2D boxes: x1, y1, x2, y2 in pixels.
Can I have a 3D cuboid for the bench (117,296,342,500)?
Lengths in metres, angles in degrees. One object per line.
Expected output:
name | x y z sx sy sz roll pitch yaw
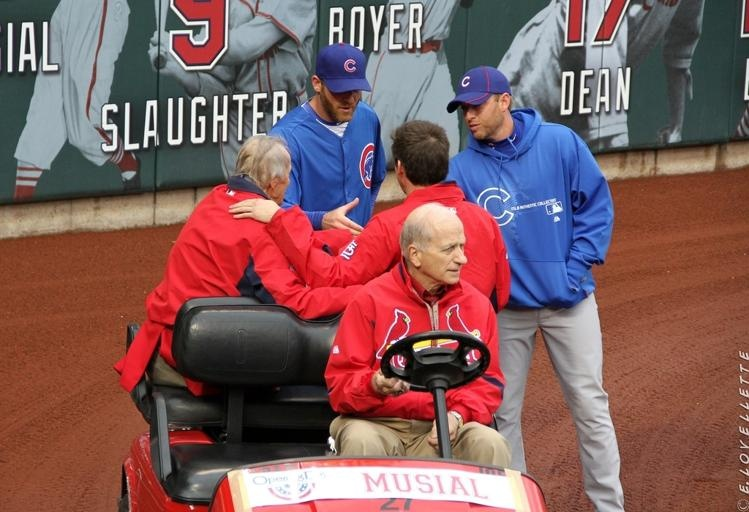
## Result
bench | -0.912 0.895 6.500 1.369 1.263 0.928 -2 8 -7

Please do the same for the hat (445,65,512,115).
hat | 0.756 -1.229 7.218 0.398 0.274 0.287 -14 9 -29

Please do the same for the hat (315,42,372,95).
hat | -0.246 -1.363 7.464 0.276 0.251 0.426 -11 38 -27
